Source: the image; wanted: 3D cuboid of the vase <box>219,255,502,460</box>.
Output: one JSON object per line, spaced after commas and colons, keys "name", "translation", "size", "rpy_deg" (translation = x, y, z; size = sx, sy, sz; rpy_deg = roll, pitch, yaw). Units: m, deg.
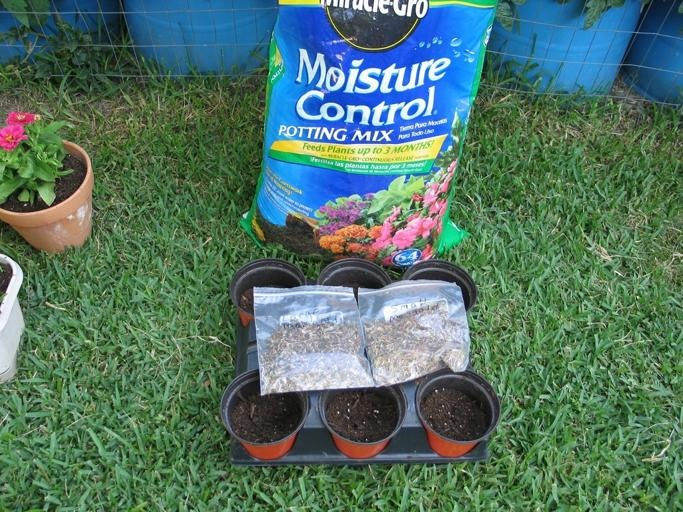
{"name": "vase", "translation": [0.046, 0.390, 1.934], "size": [0.715, 0.209, 0.599], "rpy_deg": [1, 65, -3]}
